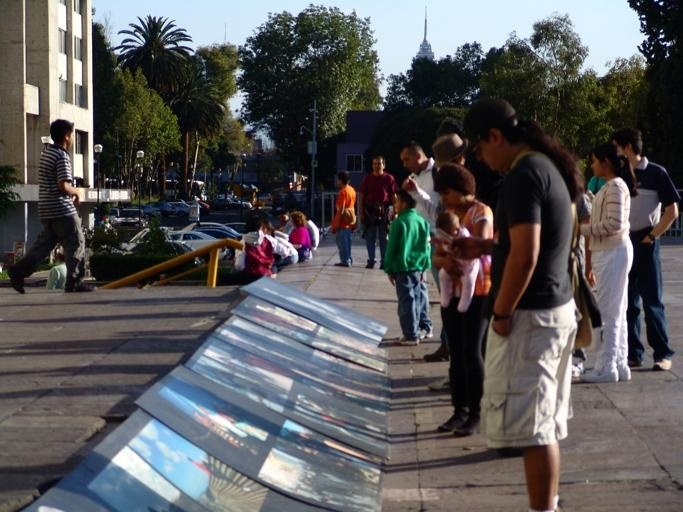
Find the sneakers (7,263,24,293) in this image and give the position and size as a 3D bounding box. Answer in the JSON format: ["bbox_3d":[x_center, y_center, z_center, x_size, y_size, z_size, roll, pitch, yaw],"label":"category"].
[{"bbox_3d":[-4.292,0.290,10.111,0.121,0.488,0.180,-5,9,17],"label":"sneakers"}]

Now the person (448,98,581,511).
[{"bbox_3d":[1.168,0.347,5.039,0.716,2.750,0.525,3,5,20],"label":"person"}]

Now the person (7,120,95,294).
[{"bbox_3d":[-3.803,-0.624,9.935,0.946,2.334,0.905,-1,5,-23],"label":"person"}]
